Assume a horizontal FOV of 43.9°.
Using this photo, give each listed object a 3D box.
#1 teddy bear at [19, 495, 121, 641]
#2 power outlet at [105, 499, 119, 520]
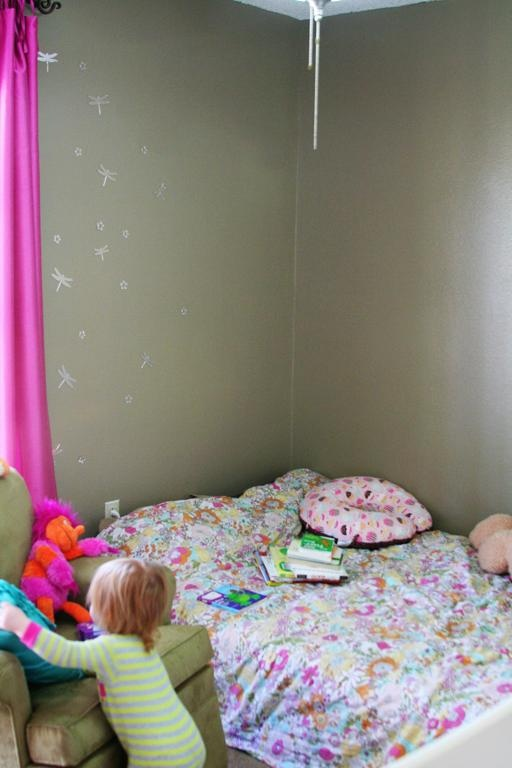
[{"bbox_3d":[-0.549,0.527,1.838,0.245,0.361,0.217,-4,-16,39],"label":"teddy bear"},{"bbox_3d":[-0.579,0.498,2.514,0.010,0.089,0.079,-3,-3,34],"label":"power outlet"}]
